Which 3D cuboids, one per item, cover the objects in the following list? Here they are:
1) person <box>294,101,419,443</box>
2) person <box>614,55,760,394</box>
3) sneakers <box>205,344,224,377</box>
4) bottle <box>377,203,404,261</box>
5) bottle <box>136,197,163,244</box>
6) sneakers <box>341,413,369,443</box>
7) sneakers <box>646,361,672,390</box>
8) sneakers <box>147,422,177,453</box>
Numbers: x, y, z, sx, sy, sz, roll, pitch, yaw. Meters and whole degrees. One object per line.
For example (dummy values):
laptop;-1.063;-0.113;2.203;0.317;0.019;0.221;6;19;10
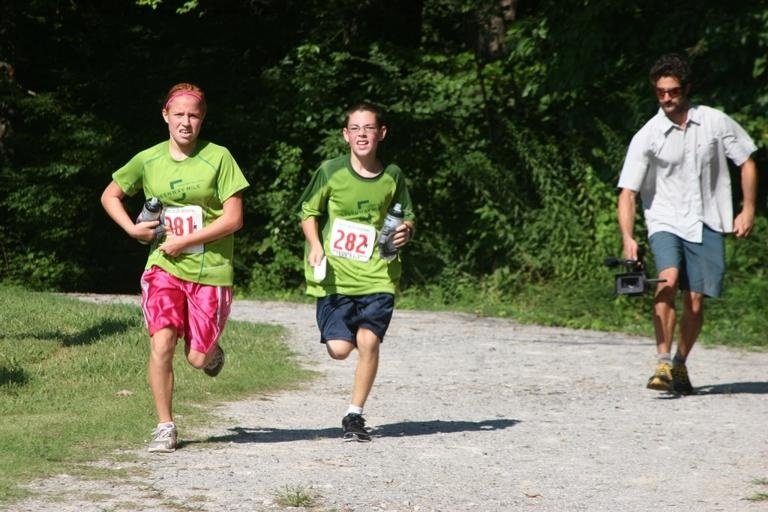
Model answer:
person;-0.247;0.141;10.623;1.093;3.167;0.786;0;8;-5
person;3.217;-0.317;11.779;1.420;3.630;0.753;2;8;9
sneakers;-1.643;1.037;10.730;0.174;0.354;0.168;4;0;25
bottle;0.069;-0.227;10.585;0.254;0.556;0.262;1;8;0
bottle;-2.178;-0.334;10.337;0.283;0.432;0.190;3;8;11
sneakers;-0.250;1.618;10.527;0.268;0.256;0.184;0;8;-3
sneakers;2.947;1.252;11.697;0.235;0.283;0.226;3;9;16
sneakers;-2.030;1.646;10.101;0.268;0.237;0.210;1;8;2
